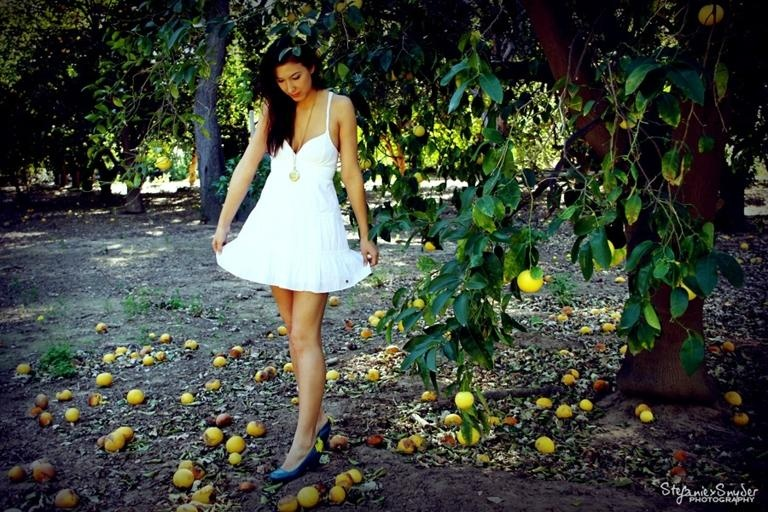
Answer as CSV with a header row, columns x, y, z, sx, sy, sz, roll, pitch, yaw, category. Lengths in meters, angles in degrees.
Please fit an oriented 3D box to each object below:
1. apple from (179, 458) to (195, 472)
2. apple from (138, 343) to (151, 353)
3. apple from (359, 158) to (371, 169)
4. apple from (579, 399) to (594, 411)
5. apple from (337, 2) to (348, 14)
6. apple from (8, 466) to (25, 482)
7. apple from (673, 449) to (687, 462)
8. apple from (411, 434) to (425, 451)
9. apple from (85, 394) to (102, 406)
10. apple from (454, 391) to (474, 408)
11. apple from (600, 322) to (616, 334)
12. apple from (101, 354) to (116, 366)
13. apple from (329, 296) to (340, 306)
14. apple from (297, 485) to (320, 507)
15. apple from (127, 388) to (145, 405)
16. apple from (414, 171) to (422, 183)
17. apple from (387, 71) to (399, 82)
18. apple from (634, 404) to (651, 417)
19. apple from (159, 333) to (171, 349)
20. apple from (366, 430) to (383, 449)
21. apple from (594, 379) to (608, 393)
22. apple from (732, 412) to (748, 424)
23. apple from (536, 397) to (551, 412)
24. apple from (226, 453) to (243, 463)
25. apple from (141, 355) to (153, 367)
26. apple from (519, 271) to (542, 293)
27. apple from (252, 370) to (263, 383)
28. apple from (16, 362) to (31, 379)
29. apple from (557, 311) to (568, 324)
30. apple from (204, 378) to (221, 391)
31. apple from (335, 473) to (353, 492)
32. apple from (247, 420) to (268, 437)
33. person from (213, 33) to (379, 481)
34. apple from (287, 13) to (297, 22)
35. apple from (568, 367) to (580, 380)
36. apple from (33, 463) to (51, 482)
x,y,z,sx,sy,sz,roll,pitch,yaw,category
-1.197,1.254,3.280,0.055,0.071,0.057,23,20,32,apple
-2.059,0.783,4.659,0.065,0.037,0.080,-16,15,16,apple
-0.126,-0.637,3.762,0.068,0.075,0.072,2,9,-4,apple
1.344,0.988,3.592,0.075,0.063,0.060,21,-3,10,apple
-0.254,-1.458,3.194,0.064,0.039,0.100,-5,11,-7,apple
-2.216,1.301,3.277,0.066,0.073,0.091,4,6,5,apple
1.727,1.162,3.153,0.052,0.031,0.054,-1,-13,-12,apple
0.205,1.148,3.344,0.069,0.092,0.079,-2,1,-2,apple
-2.131,1.044,3.957,0.065,0.078,0.088,9,-5,-14,apple
0.389,0.697,2.668,0.082,0.085,0.080,30,-32,-32,apple
1.922,0.617,4.608,0.083,0.057,0.088,-2,5,6,apple
-2.306,0.854,4.526,0.098,0.063,0.144,-14,15,-43,apple
-0.528,0.478,5.719,0.091,0.080,0.072,0,-24,-6,apple
-0.412,1.323,3.031,0.097,0.128,0.100,-1,-4,42,apple
-1.820,1.035,4.019,0.106,0.112,0.104,16,-13,34,apple
0.225,-0.503,3.520,0.058,0.065,0.073,-3,-15,-2,apple
0.055,-1.120,3.401,0.044,0.060,0.045,-2,-3,18,apple
1.650,0.979,3.464,0.081,0.064,0.060,-37,35,-26,apple
-1.969,0.759,4.832,0.095,0.094,0.088,7,7,35,apple
-0.057,1.147,3.389,0.073,0.045,0.071,14,19,30,apple
1.501,0.897,3.748,0.070,0.052,0.089,0,13,29,apple
2.230,1.014,3.380,0.101,0.054,0.065,-4,10,-1,apple
1.082,0.988,3.650,0.108,0.059,0.103,-1,11,16,apple
-0.932,1.258,3.362,0.064,0.065,0.063,-33,-11,2,apple
-1.977,0.868,4.530,0.108,0.074,0.102,0,11,18,apple
0.673,0.118,2.503,0.108,0.124,0.128,-1,11,13,apple
-0.984,0.940,4.217,0.073,0.094,0.076,-1,-1,-5,apple
-2.903,0.914,4.322,0.136,0.073,0.130,-7,11,-16,apple
1.651,0.568,5.002,0.075,0.065,0.102,0,0,22,apple
-1.301,0.980,4.106,0.082,0.053,0.080,-29,15,-39,apple
-0.227,1.274,3.052,0.078,0.087,0.082,-11,-20,12,apple
-0.842,1.121,3.590,0.096,0.104,0.096,0,3,-37,apple
-0.501,0.021,3.188,0.924,2.467,0.492,-4,9,-3,person
-0.547,-1.401,3.207,0.050,0.066,0.099,-5,11,-8,apple
1.378,0.847,3.909,0.069,0.059,0.053,21,-39,-21,apple
-2.064,1.298,3.256,0.090,0.073,0.090,6,12,-45,apple
